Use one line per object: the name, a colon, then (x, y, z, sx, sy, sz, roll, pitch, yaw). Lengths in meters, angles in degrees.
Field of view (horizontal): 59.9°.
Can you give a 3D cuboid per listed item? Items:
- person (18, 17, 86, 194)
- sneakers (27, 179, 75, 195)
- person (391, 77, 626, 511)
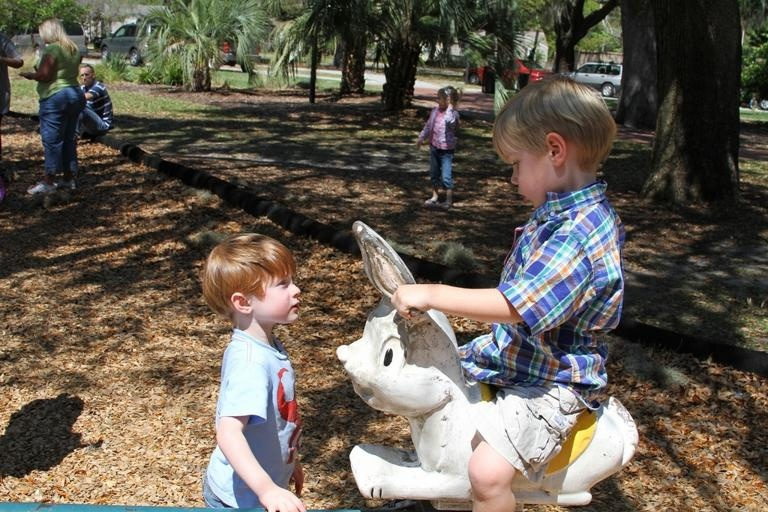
person: (-3.977, -1.808, 7.923, 0.764, 1.961, 0.622, 3, 11, -5)
sneakers: (-4.021, -0.829, 8.035, 0.592, 0.245, 0.212, -2, 1, -19)
person: (0.627, 0.142, 2.893, 0.732, 1.762, 0.827, 15, 22, 31)
